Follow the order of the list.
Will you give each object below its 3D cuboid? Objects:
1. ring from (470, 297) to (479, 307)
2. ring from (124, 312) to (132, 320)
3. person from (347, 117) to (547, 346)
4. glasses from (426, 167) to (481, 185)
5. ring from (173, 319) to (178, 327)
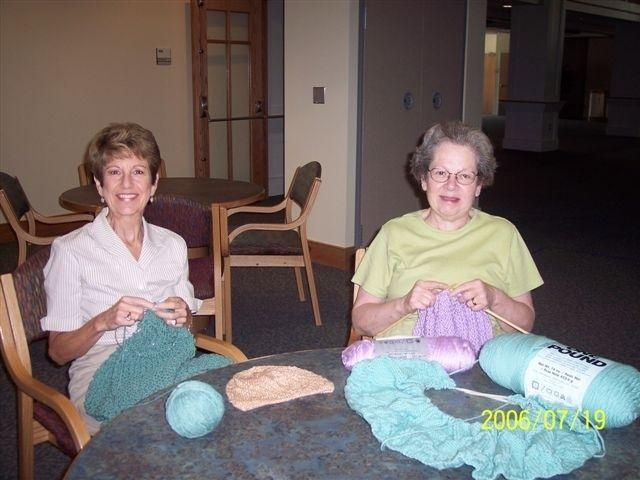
[{"bbox_3d":[0.473,0.191,1.504,0.020,0.023,0.008,5,0,-12],"label":"ring"},{"bbox_3d":[-0.594,0.233,1.506,0.018,0.025,0.012,2,-12,-19],"label":"ring"},{"bbox_3d":[0.451,-0.021,1.755,0.627,0.750,0.560,-15,23,-38],"label":"person"},{"bbox_3d":[0.491,-0.236,1.809,0.169,0.057,0.049,4,18,13],"label":"glasses"},{"bbox_3d":[-0.467,0.267,1.573,0.018,0.018,0.004,20,13,41],"label":"ring"}]
